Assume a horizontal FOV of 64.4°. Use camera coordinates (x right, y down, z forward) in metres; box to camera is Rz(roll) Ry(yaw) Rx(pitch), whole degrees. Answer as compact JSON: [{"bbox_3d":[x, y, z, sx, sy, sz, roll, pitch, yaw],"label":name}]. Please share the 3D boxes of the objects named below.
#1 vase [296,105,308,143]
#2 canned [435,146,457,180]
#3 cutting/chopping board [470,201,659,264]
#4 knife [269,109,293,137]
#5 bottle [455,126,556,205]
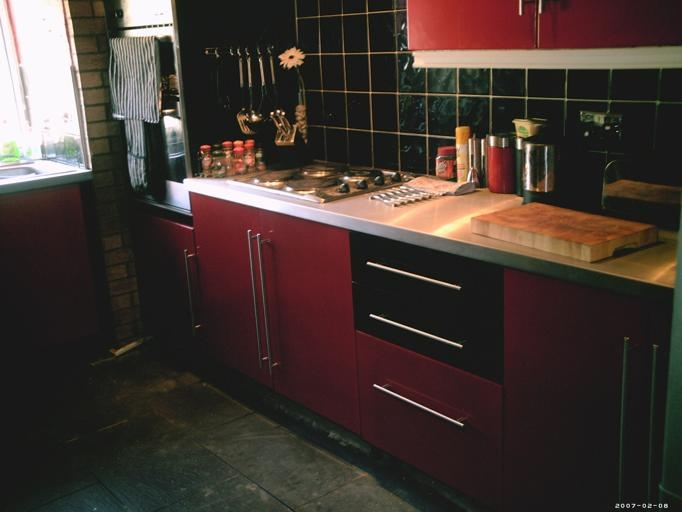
[{"bbox_3d":[-0.206,-0.690,2.833,0.054,0.202,0.100,-5,19,-6],"label":"vase"},{"bbox_3d":[0.469,-0.421,2.419,0.082,0.138,0.132,-1,19,6],"label":"canned"},{"bbox_3d":[0.671,-0.084,1.656,0.296,0.066,0.453,-17,23,-36],"label":"cutting/chopping board"},{"bbox_3d":[-0.314,-0.686,2.807,0.085,0.136,0.086,-40,26,-13],"label":"knife"},{"bbox_3d":[0.636,-0.358,2.106,0.165,0.226,0.552,-7,15,-20],"label":"bottle"}]
